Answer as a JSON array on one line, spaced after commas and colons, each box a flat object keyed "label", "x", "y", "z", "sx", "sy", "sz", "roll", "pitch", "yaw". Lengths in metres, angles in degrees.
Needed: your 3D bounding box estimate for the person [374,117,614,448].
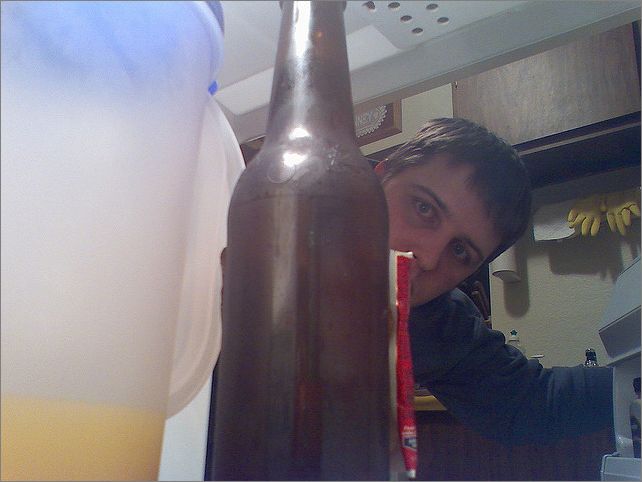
[{"label": "person", "x": 0.437, "y": 0.092, "z": 1.493, "sx": 0.541, "sy": 0.883, "sz": 0.254, "roll": 2, "pitch": -18, "yaw": -8}]
